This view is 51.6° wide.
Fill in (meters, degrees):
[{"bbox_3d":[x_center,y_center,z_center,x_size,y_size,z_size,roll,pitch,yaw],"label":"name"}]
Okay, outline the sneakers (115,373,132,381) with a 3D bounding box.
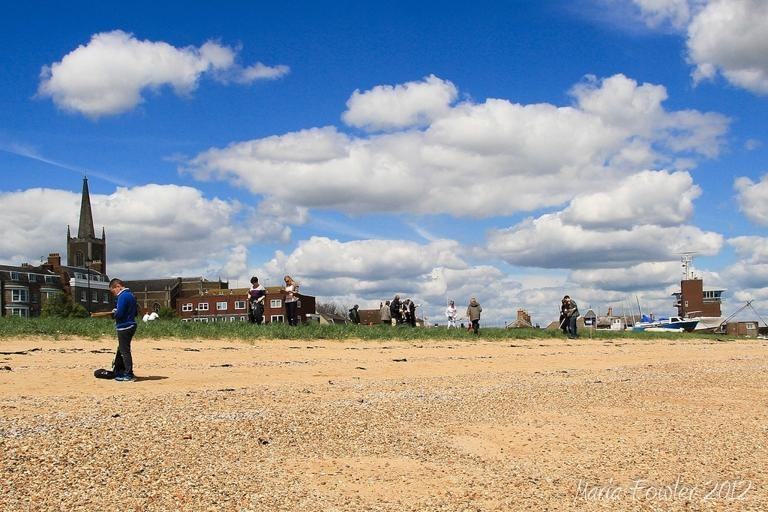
[{"bbox_3d":[-5.227,2.420,15.909,0.350,0.110,0.199,1,5,9],"label":"sneakers"}]
